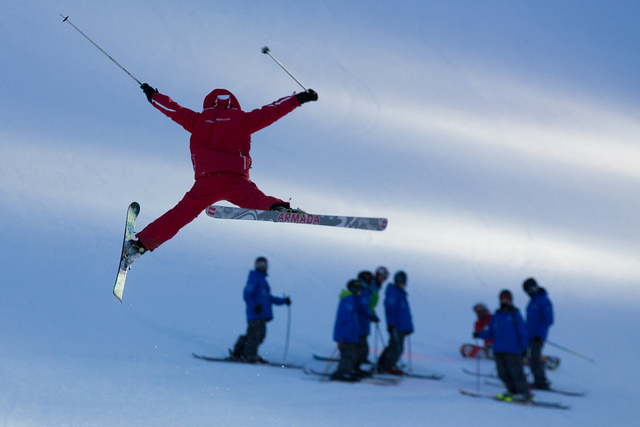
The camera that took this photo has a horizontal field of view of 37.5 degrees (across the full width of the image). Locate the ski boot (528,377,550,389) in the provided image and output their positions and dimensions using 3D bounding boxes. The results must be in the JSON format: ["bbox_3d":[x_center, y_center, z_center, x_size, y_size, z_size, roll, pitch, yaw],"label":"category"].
[{"bbox_3d":[3.479,2.688,14.969,0.297,0.171,0.163,7,-14,9],"label":"ski boot"}]

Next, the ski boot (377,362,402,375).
[{"bbox_3d":[1.087,2.451,14.863,0.373,0.161,0.076,9,-13,4],"label":"ski boot"}]

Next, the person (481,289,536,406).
[{"bbox_3d":[2.865,2.050,14.506,0.816,1.626,0.533,5,-14,15],"label":"person"}]

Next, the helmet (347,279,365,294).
[{"bbox_3d":[0.534,1.124,14.352,0.298,0.165,0.426,1,-10,1],"label":"helmet"}]

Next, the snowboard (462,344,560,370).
[{"bbox_3d":[3.244,2.463,16.419,1.579,0.406,0.439,1,-3,11],"label":"snowboard"}]

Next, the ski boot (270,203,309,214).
[{"bbox_3d":[-0.519,-0.058,13.132,0.330,0.062,0.085,10,-34,-8],"label":"ski boot"}]

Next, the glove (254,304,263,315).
[{"bbox_3d":[-0.956,1.509,14.802,0.126,0.159,0.029,11,-13,-8],"label":"glove"}]

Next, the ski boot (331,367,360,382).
[{"bbox_3d":[0.393,2.507,14.677,0.435,0.202,0.139,5,-14,17],"label":"ski boot"}]

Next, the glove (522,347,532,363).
[{"bbox_3d":[3.200,2.184,14.612,0.095,0.388,0.135,3,-1,-7],"label":"glove"}]

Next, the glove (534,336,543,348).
[{"bbox_3d":[3.419,2.020,14.821,0.121,0.164,0.104,3,-15,24],"label":"glove"}]

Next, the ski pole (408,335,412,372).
[{"bbox_3d":[1.450,2.277,15.278,0.065,0.656,0.069,3,8,-3],"label":"ski pole"}]

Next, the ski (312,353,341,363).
[{"bbox_3d":[0.107,2.345,15.291,0.913,0.099,0.125,11,-12,-33],"label":"ski"}]

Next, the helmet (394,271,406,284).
[{"bbox_3d":[1.239,0.970,14.597,0.179,0.163,0.357,8,-14,6],"label":"helmet"}]

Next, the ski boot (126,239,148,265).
[{"bbox_3d":[-2.843,0.596,14.557,0.453,0.366,0.224,-4,-18,43],"label":"ski boot"}]

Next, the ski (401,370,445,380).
[{"bbox_3d":[1.698,2.649,15.267,0.856,0.102,0.150,4,27,-15],"label":"ski"}]

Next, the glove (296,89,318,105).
[{"bbox_3d":[-0.185,-1.756,14.334,0.330,0.197,0.175,-2,-17,39],"label":"glove"}]
